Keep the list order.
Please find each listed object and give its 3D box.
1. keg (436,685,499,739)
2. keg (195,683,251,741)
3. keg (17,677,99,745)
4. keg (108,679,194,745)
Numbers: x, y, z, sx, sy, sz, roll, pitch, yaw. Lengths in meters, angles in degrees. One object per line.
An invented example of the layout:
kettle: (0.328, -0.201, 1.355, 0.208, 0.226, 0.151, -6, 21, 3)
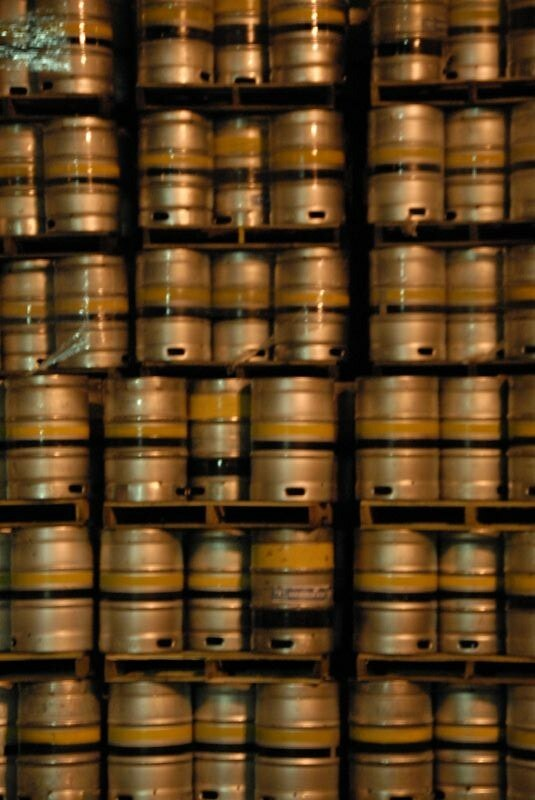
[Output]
keg: (1.096, 1.711, 9.094, 0.259, 0.293, 0.307, 1, -105, 1)
keg: (-0.229, 1.718, 9.334, 0.304, 0.344, 0.416, 0, -94, 13)
keg: (-1.154, 1.712, 9.150, 0.334, 0.365, 0.420, -1, -101, 2)
keg: (-0.635, 1.837, 9.258, 0.414, 0.472, 0.539, 2, -101, -1)
